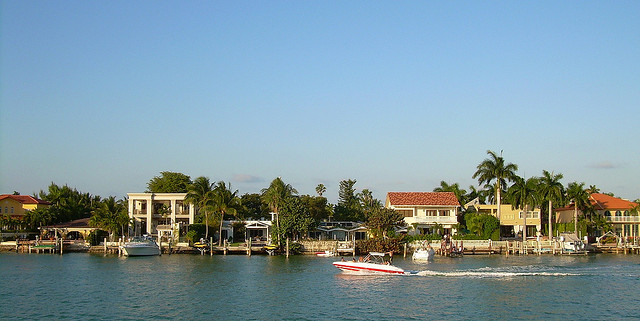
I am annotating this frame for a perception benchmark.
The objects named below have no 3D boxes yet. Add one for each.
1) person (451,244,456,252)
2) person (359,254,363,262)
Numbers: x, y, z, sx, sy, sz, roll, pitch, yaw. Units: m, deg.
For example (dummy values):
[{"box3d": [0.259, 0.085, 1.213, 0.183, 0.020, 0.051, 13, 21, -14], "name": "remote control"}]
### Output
[{"box3d": [32.479, 21.061, 156.939, 0.761, 1.292, 1.920, 2, 8, 12], "name": "person"}, {"box3d": [9.138, 21.554, 143.572, 0.918, 2.363, 0.984, 1, 29, -3], "name": "person"}]
